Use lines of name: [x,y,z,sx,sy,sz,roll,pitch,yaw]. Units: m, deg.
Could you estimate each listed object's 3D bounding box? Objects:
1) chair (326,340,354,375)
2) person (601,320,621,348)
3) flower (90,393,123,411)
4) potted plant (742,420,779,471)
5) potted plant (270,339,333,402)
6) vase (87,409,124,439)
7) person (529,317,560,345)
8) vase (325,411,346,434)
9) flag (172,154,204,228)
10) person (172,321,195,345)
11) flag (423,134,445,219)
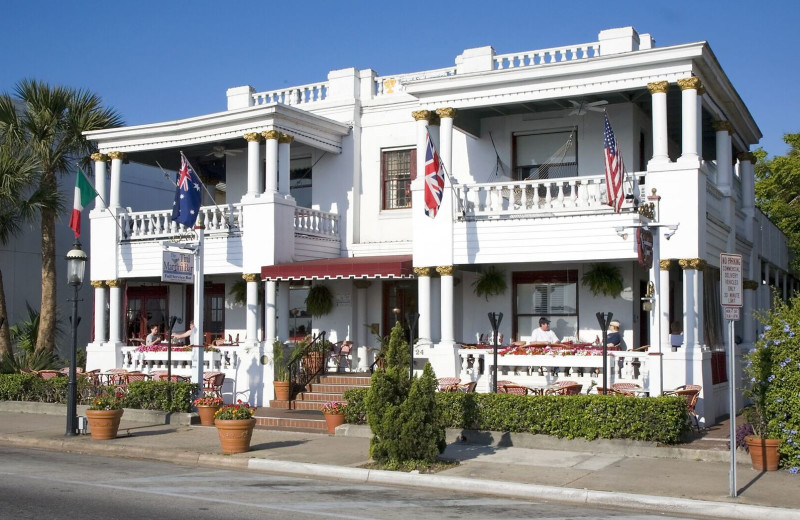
chair: [-2.100,3.354,38.685,0.913,1.379,1.094,5,-7,-4]
person: [6.804,2.314,34.945,0.480,1.019,2.031,-1,-9,12]
flower: [-8.539,4.189,32.316,0.670,0.351,0.717,2,-3,22]
potted plant: [9.234,4.915,28.219,0.764,0.627,0.792,-4,-7,34]
potted plant: [-3.335,3.581,36.398,1.743,2.500,0.803,2,-8,-9]
vase: [-8.577,4.741,32.134,0.827,0.707,0.877,-1,-9,3]
person: [4.575,2.360,35.462,1.017,1.357,0.765,-1,-7,-8]
vase: [-1.960,4.813,32.855,0.537,0.449,0.548,-10,-17,42]
flag: [-6.929,-2.224,35.580,0.980,2.723,0.238,-6,-27,-8]
person: [-7.839,2.607,39.818,0.963,0.668,0.997,-1,-3,44]
flag: [1.021,-2.623,33.996,0.575,2.312,1.252,0,-8,3]
